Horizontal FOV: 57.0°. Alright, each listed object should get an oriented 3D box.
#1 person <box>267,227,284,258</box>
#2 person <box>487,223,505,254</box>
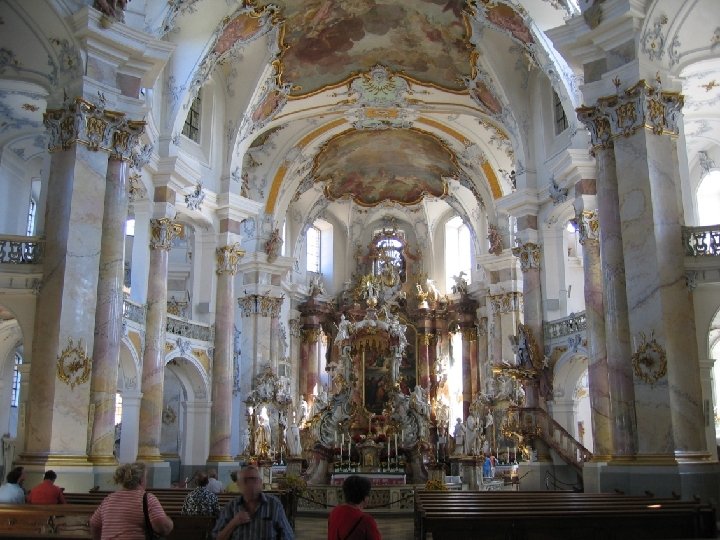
[{"bbox_3d":[-3.197,-0.986,24.693,0.387,1.350,0.722,-10,-19,26],"label":"person"},{"bbox_3d":[5.075,-1.195,25.004,0.695,1.229,0.277,-17,-23,42],"label":"person"}]
